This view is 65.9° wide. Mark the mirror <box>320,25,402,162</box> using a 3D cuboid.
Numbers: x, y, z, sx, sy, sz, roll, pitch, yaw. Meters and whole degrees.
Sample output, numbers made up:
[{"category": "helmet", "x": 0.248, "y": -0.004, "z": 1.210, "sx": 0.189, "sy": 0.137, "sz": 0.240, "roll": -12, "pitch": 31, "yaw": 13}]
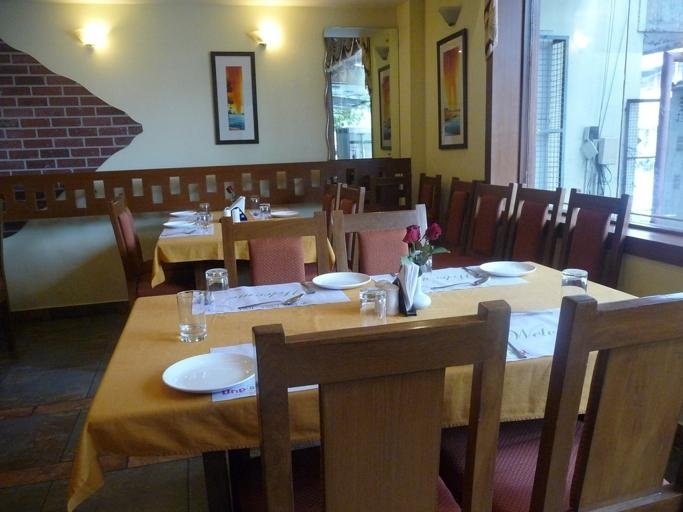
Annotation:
[{"category": "mirror", "x": 0.182, "y": -1.541, "z": 4.980, "sx": 0.714, "sy": 1.175, "sz": 0.146, "roll": -2, "pitch": 14, "yaw": -7}]

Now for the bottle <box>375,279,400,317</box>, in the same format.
[{"category": "bottle", "x": 0.161, "y": 0.156, "z": 1.856, "sx": 0.079, "sy": 0.112, "sz": 0.105, "roll": -1, "pitch": 3, "yaw": -15}]

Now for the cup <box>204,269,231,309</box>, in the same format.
[{"category": "cup", "x": -0.505, "y": 0.126, "z": 2.082, "sx": 0.117, "sy": 0.223, "sz": 0.127, "roll": 4, "pitch": 12, "yaw": -1}]

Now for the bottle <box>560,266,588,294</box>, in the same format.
[{"category": "bottle", "x": 0.857, "y": 0.082, "z": 1.915, "sx": 0.091, "sy": 0.111, "sz": 0.096, "roll": 0, "pitch": 6, "yaw": -3}]

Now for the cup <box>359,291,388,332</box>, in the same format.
[{"category": "cup", "x": 0.098, "y": 0.178, "z": 1.754, "sx": 0.095, "sy": 0.170, "sz": 0.102, "roll": 1, "pitch": 5, "yaw": 0}]

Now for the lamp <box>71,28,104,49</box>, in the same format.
[{"category": "lamp", "x": -2.148, "y": -1.840, "z": 4.432, "sx": 0.242, "sy": 0.147, "sz": 0.055, "roll": -4, "pitch": 14, "yaw": -16}]

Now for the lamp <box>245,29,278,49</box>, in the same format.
[{"category": "lamp", "x": -0.723, "y": -1.945, "z": 4.712, "sx": 0.262, "sy": 0.134, "sz": 0.049, "roll": -3, "pitch": 14, "yaw": -10}]

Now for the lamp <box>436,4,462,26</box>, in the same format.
[{"category": "lamp", "x": 0.860, "y": -1.917, "z": 4.189, "sx": 0.121, "sy": 0.146, "sz": 0.186, "roll": -8, "pitch": 16, "yaw": -29}]

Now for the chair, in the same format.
[{"category": "chair", "x": -0.005, "y": 0.436, "z": 1.791, "sx": 1.520, "sy": 0.455, "sz": 0.766, "roll": -3, "pitch": 14, "yaw": -9}]
